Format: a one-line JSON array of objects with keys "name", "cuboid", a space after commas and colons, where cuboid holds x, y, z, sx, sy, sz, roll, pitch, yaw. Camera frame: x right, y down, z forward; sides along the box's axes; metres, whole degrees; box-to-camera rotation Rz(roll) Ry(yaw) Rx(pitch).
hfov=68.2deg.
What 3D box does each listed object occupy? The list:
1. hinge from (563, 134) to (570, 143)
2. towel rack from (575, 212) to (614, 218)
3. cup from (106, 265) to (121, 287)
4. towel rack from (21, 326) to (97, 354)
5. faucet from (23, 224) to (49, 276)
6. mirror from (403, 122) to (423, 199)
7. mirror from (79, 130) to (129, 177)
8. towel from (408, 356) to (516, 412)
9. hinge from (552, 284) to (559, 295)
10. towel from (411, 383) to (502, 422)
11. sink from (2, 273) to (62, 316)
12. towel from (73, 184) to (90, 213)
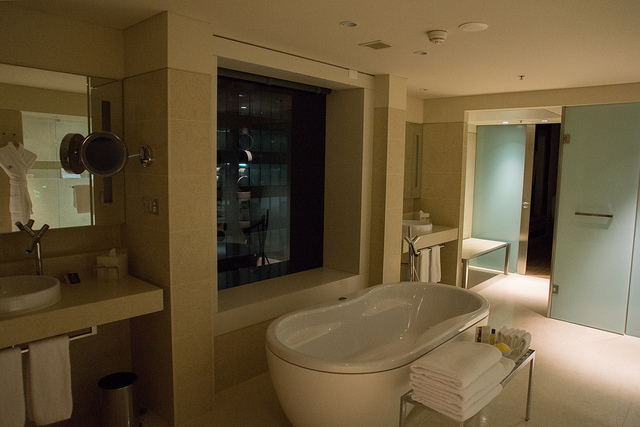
[{"name": "hinge", "cuboid": [3.141, -0.941, 5.967, 0.087, 0.096, 0.085, -4, 5, -35]}, {"name": "towel rack", "cuboid": [3.427, 0.019, 5.849, 0.413, 0.046, 0.011, 3, 8, 31]}, {"name": "cup", "cuboid": [-1.826, 0.534, 4.117, 0.107, 0.155, 0.126, -2, 7, -12]}, {"name": "towel rack", "cuboid": [-2.117, 0.999, 3.762, 0.054, 0.088, 0.394, 5, 3, 18]}, {"name": "faucet", "cuboid": [-2.379, 0.301, 3.937, 0.189, 0.439, 0.213, 3, 8, 33]}, {"name": "mirror", "cuboid": [1.353, -0.755, 6.843, 0.132, 1.093, 0.469, 4, 9, 37]}, {"name": "mirror", "cuboid": [-1.864, -0.507, 4.008, 0.381, 0.401, 0.088, 0, 4, -27]}, {"name": "towel", "cuboid": [1.088, 1.312, 3.690, 0.889, 0.222, 0.633, -2, 4, -44]}, {"name": "hinge", "cuboid": [3.078, 0.978, 6.127, 0.037, 0.131, 0.112, -9, 13, -42]}, {"name": "towel", "cuboid": [1.077, 1.488, 3.739, 0.571, 0.178, 0.570, 1, -4, -38]}, {"name": "sink", "cuboid": [-2.347, 0.624, 3.736, 0.468, 0.214, 0.409, 4, 8, 38]}, {"name": "towel", "cuboid": [-2.111, -0.131, 4.137, 0.109, 0.208, 0.201, 16, 16, 34]}]
